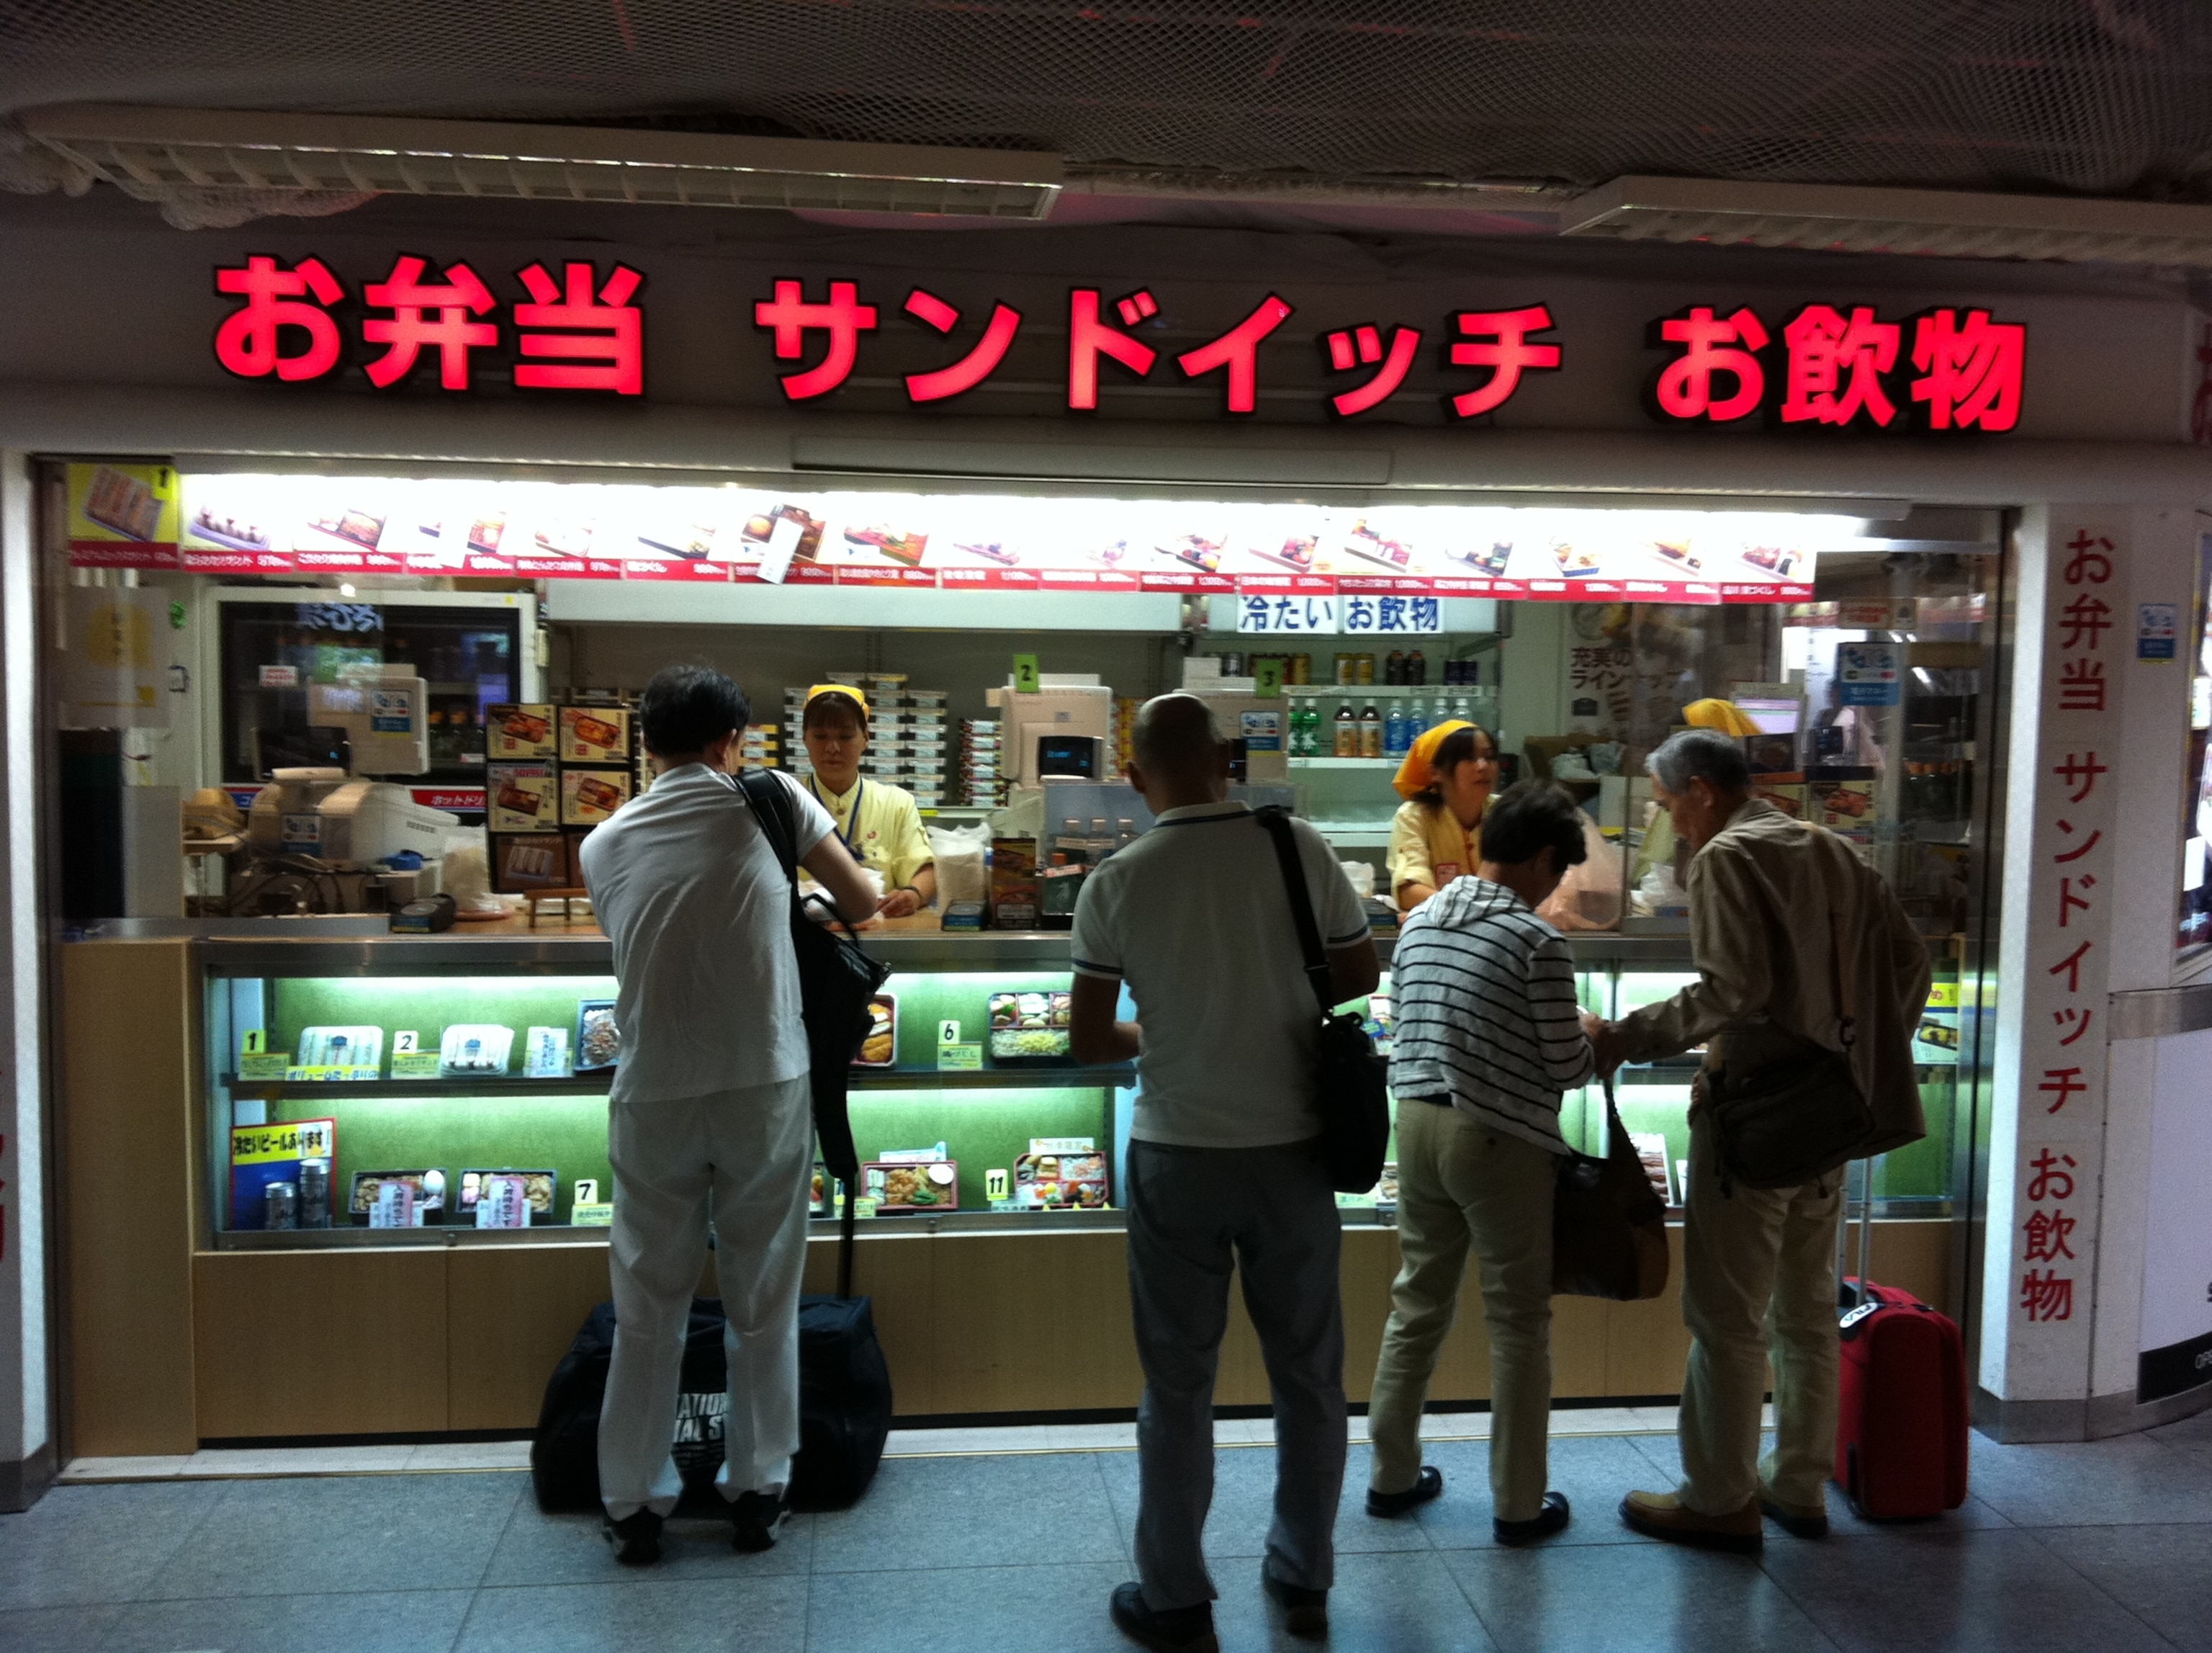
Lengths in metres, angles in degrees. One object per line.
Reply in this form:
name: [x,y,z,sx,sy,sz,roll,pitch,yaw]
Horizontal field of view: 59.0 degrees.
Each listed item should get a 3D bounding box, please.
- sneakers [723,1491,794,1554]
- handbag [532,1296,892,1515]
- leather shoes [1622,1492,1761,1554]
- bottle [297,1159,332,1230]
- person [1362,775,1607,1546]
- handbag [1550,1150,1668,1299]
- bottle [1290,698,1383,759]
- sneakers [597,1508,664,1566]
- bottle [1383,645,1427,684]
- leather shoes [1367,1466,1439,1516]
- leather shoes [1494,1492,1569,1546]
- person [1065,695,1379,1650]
sneakers: [-0.869,1.747,4.946,0.136,0.140,0.136,1,-2,5]
handbag: [-0.923,1.540,5.310,0.779,0.351,0.553,1,-9,-6]
leather shoes: [1.489,1.775,5.030,0.331,0.116,0.127,5,0,34]
bottle: [-2.197,1.047,5.471,0.097,0.185,0.209,-4,14,-19]
person: [0.965,0.856,4.951,0.544,1.907,0.434,7,15,24]
handbag: [1.234,0.977,4.808,0.277,0.371,0.177,3,14,12]
bottle: [1.033,-0.449,8.733,0.521,0.241,0.319,2,-5,2]
sneakers: [-1.155,1.763,4.846,0.117,0.137,0.155,6,-13,-29]
bottle: [1.361,-0.738,8.925,0.159,0.150,0.218,8,15,30]
leather shoes: [0.789,1.756,5.149,0.224,0.084,0.081,-8,11,-44]
leather shoes: [1.099,1.782,5.026,0.235,0.089,0.085,-5,7,-40]
person: [0.258,0.816,4.524,0.695,2.180,0.601,2,14,7]
